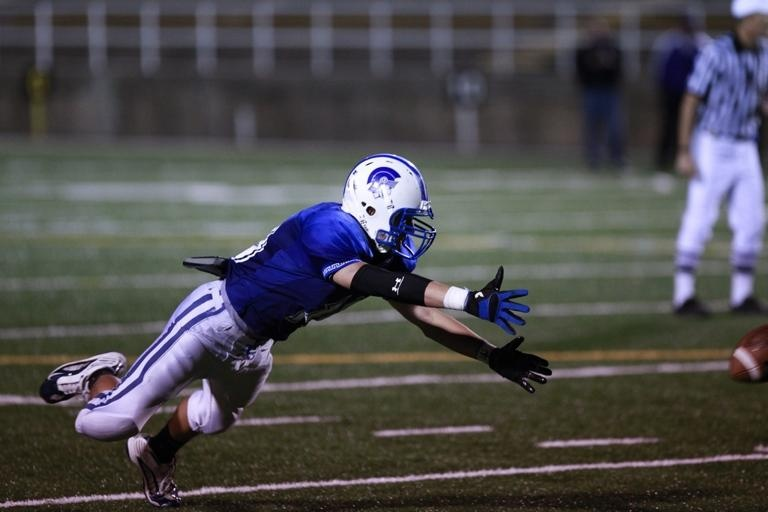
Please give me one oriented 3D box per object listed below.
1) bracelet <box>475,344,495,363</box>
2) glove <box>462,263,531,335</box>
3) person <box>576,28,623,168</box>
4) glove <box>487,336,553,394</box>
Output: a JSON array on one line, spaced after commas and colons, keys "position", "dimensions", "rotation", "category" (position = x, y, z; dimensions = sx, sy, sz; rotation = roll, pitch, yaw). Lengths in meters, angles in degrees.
[{"position": [0.798, 0.776, 10.427], "dimensions": [0.128, 0.151, 0.117], "rotation": [18, 42, 4], "category": "bracelet"}, {"position": [1.018, 0.429, 11.956], "dimensions": [0.667, 0.525, 0.192], "rotation": [-2, -10, 26], "category": "glove"}, {"position": [2.830, -2.034, 17.104], "dimensions": [0.593, 1.939, 0.630], "rotation": [-1, 9, -9], "category": "person"}, {"position": [1.147, 0.955, 11.137], "dimensions": [0.524, 0.382, 0.217], "rotation": [9, -15, 27], "category": "glove"}]
